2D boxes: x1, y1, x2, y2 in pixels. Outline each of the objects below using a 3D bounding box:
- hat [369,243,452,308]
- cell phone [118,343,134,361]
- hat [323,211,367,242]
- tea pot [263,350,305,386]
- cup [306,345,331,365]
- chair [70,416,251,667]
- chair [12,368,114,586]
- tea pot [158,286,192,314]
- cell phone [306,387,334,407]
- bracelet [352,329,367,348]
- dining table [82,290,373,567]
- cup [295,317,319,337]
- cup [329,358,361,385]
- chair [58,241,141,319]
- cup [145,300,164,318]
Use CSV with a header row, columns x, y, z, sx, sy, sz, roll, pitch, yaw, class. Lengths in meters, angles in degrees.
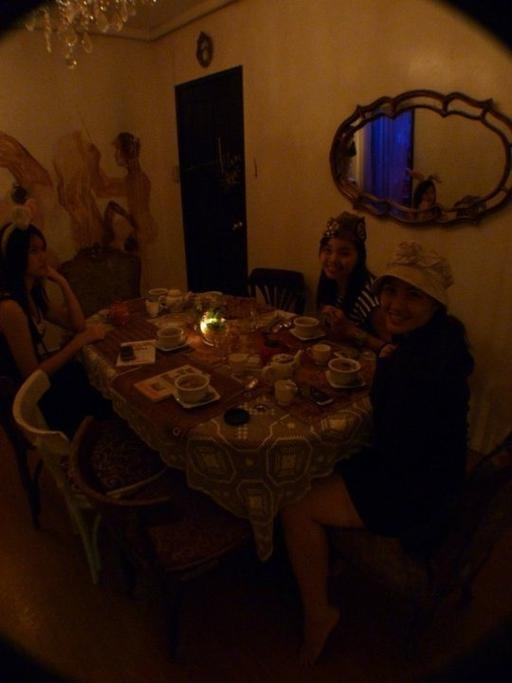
x,y,z,sx,sy,sz,roll,pitch,yaw,class
0.525,-0.273,1.752,0.179,0.233,0.130,-7,37,51,hat
-0.561,0.040,2.234,0.061,0.067,0.115,-2,11,-19,cell phone
0.457,-0.598,2.660,0.187,0.151,0.150,-15,35,-19,hat
0.096,0.085,1.947,0.147,0.106,0.093,-15,22,-40,tea pot
0.260,0.046,2.161,0.071,0.065,0.087,15,22,40,cup
-0.315,0.687,1.774,0.433,0.611,0.409,-31,58,-22,chair
-0.767,0.551,2.086,0.432,0.686,0.405,-19,48,-25,chair
-0.444,-0.225,2.897,0.152,0.119,0.124,-7,15,-21,tea pot
0.220,0.196,1.821,0.071,0.015,0.135,-9,22,-8,cell phone
0.444,-0.010,2.288,0.052,0.024,0.067,-25,59,-2,bracelet
-0.243,0.202,2.043,0.712,0.312,1.222,-26,37,-26,dining table
0.229,-0.068,2.424,0.091,0.064,0.093,-1,17,0,cup
0.325,0.088,1.942,0.091,0.061,0.098,2,37,-2,cup
-1.136,-0.458,3.890,0.556,0.518,0.543,-26,16,-36,chair
-0.548,-0.183,2.877,0.100,0.104,0.067,-25,32,-37,cup
